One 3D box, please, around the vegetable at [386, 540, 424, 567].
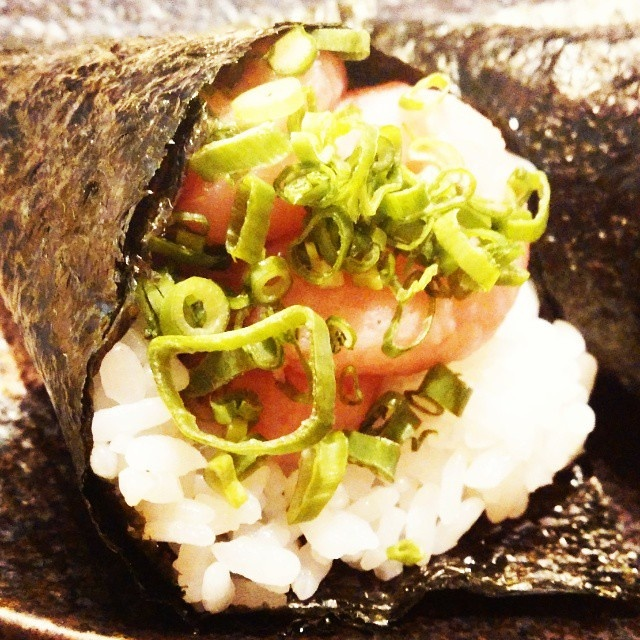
[{"bbox_3d":[0.266,0.726,3.196,0.109,0.043,0.075,8,91,2],"label":"vegetable"}]
